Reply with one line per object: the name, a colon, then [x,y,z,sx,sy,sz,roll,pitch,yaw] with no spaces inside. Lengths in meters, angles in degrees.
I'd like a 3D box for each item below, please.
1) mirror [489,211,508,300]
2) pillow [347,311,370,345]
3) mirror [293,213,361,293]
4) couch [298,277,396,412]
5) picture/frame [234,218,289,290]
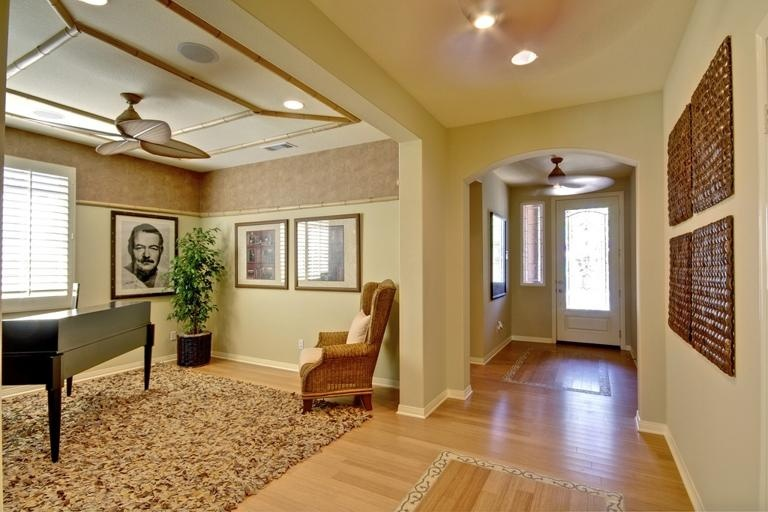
mirror: [1.787,-0.012,7.636,0.064,1.644,1.454,-2,-4,25]
pillow: [-0.281,0.813,5.359,0.096,0.308,0.323,27,2,-27]
mirror: [-0.713,-0.040,6.342,1.068,1.065,0.039,-1,-1,31]
couch: [-0.448,0.976,5.536,1.163,1.305,1.099,-2,3,-2]
picture/frame: [-1.769,-0.021,6.886,0.039,0.977,1.023,2,3,31]
